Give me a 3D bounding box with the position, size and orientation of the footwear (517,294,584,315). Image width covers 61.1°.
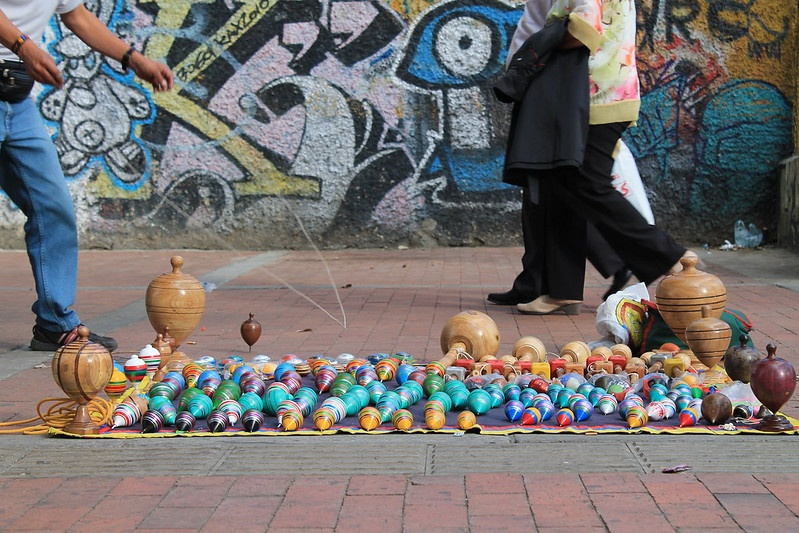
[{"bbox_3d":[1.295,0.318,5.838,0.544,0.169,0.188,3,-2,0],"label":"footwear"}]

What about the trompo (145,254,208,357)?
[{"bbox_3d":[-1.429,0.243,4.310,0.381,0.617,0.410,2,-2,-12],"label":"trompo"}]

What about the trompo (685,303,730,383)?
[{"bbox_3d":[1.746,0.426,3.805,0.290,0.421,0.251,-6,-5,30],"label":"trompo"}]

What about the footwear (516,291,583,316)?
[{"bbox_3d":[1.293,0.311,5.890,0.563,0.176,0.189,3,-3,0],"label":"footwear"}]

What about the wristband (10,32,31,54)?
[{"bbox_3d":[-2.312,-1.348,4.099,0.054,0.117,0.107,42,-29,-8],"label":"wristband"}]

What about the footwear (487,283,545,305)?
[{"bbox_3d":[1.066,0.260,6.116,0.481,0.163,0.162,-3,4,40],"label":"footwear"}]

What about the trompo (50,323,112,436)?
[{"bbox_3d":[-1.483,0.528,3.261,0.278,0.505,0.267,10,0,-22],"label":"trompo"}]

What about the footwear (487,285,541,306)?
[{"bbox_3d":[1.021,0.279,6.122,0.474,0.159,0.155,-1,4,35],"label":"footwear"}]
